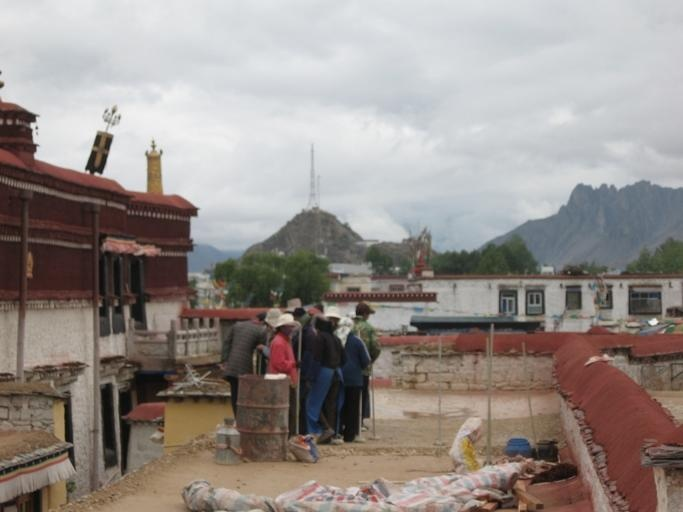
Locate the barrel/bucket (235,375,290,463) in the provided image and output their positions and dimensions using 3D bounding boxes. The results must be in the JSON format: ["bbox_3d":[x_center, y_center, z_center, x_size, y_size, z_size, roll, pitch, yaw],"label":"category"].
[{"bbox_3d":[-1.614,3.370,25.554,1.414,2.201,1.456,0,3,0],"label":"barrel/bucket"}]

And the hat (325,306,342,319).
[{"bbox_3d":[-0.170,1.262,26.853,0.317,0.175,0.323,8,-5,-17],"label":"hat"}]

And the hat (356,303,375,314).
[{"bbox_3d":[0.592,1.206,27.550,0.350,0.217,0.244,-13,17,-41],"label":"hat"}]

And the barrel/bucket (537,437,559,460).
[{"bbox_3d":[4.312,3.978,25.019,0.365,0.341,0.368,0,0,0],"label":"barrel/bucket"}]

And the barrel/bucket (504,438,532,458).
[{"bbox_3d":[3.721,3.969,25.132,0.342,0.276,0.390,-1,-2,12],"label":"barrel/bucket"}]
